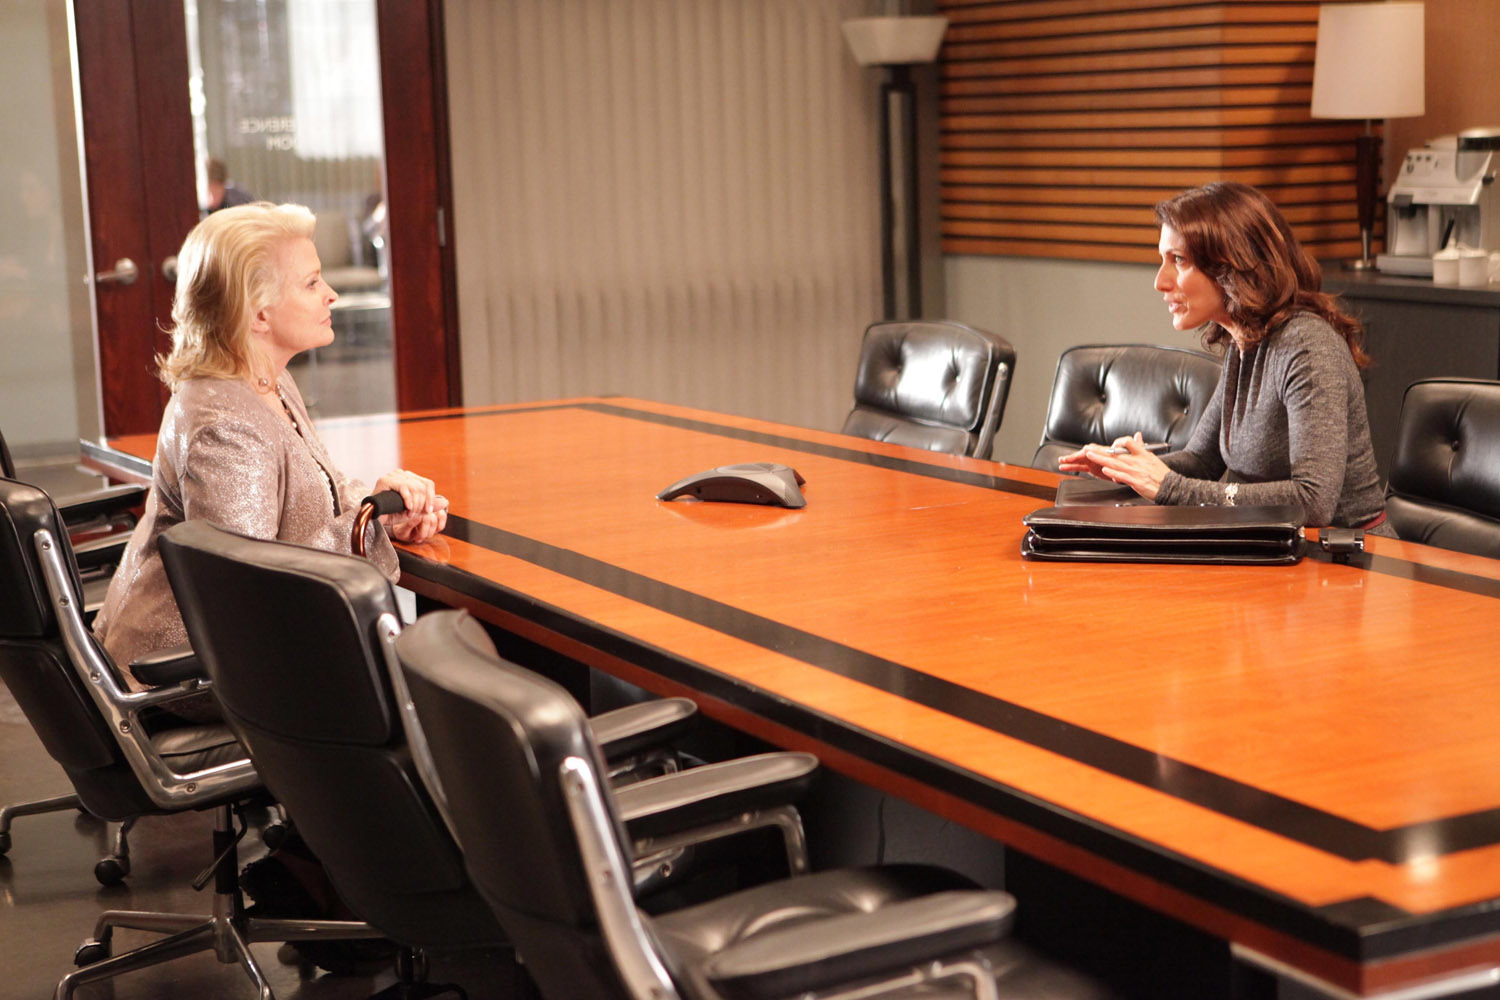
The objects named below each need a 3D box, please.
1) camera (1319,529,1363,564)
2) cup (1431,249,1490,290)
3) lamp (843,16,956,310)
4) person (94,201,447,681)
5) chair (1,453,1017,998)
[{"bbox_3d":[1.209,0.092,2.339,0.051,0.038,0.097,0,7,9],"label":"camera"},{"bbox_3d":[3.098,-1.018,5.009,0.216,0.142,0.212,-1,15,0],"label":"cup"},{"bbox_3d":[0.856,-1.987,6.942,0.595,1.779,0.703,0,15,4],"label":"lamp"},{"bbox_3d":[-1.188,-0.167,2.806,0.817,1.018,0.659,6,14,6],"label":"person"},{"bbox_3d":[-0.440,0.405,2.117,1.241,1.043,1.112,-6,10,-28],"label":"chair"}]
